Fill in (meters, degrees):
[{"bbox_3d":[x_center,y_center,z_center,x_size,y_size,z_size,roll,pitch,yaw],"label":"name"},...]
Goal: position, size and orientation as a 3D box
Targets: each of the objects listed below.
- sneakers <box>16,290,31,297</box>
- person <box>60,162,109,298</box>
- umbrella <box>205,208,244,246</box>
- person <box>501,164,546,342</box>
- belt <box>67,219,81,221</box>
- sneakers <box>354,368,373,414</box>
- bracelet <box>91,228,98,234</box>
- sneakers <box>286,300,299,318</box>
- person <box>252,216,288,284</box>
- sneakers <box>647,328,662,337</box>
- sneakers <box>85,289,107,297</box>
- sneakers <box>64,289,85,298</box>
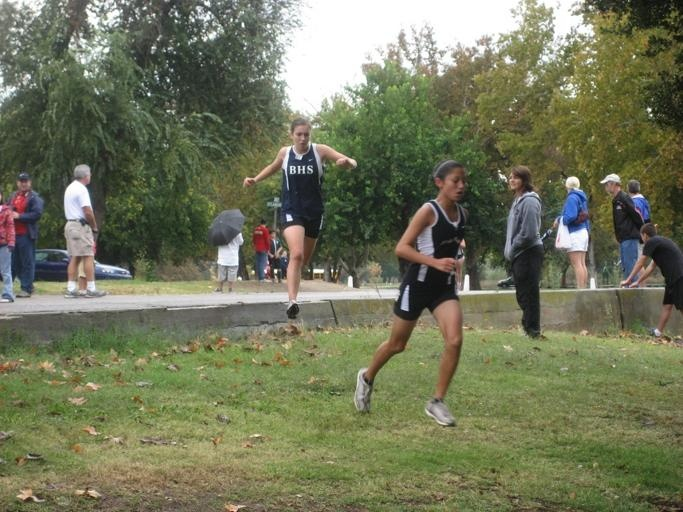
[{"bbox_3d":[-6.504,0.792,19.453,0.128,0.102,0.230,-1,-13,5],"label":"sneakers"},{"bbox_3d":[-5.157,-0.473,18.953,0.687,2.575,0.798,1,-3,-14],"label":"person"},{"bbox_3d":[-2.979,-0.724,24.399,0.817,0.964,0.828,0,-3,1],"label":"umbrella"},{"bbox_3d":[3.186,-0.038,16.526,0.618,2.953,0.903,-1,-3,10],"label":"person"},{"bbox_3d":[-5.262,-0.688,18.687,0.273,0.041,0.061,-1,-3,14],"label":"belt"},{"bbox_3d":[0.322,1.853,13.109,0.225,0.636,0.194,-11,-12,40],"label":"sneakers"},{"bbox_3d":[-4.934,-0.487,18.936,0.152,0.109,0.051,-16,-13,43],"label":"bracelet"},{"bbox_3d":[-0.775,0.848,15.061,0.167,0.264,0.317,0,-3,-7],"label":"sneakers"},{"bbox_3d":[-2.657,-0.165,35.340,0.838,1.056,2.790,7,-15,1],"label":"person"},{"bbox_3d":[6.424,1.563,19.356,0.092,0.118,0.241,-1,12,-13],"label":"sneakers"},{"bbox_3d":[-5.001,0.782,19.330,0.463,0.213,0.184,-2,1,12],"label":"sneakers"},{"bbox_3d":[-5.407,0.754,19.225,0.397,0.191,0.160,1,2,-19],"label":"sneakers"}]
